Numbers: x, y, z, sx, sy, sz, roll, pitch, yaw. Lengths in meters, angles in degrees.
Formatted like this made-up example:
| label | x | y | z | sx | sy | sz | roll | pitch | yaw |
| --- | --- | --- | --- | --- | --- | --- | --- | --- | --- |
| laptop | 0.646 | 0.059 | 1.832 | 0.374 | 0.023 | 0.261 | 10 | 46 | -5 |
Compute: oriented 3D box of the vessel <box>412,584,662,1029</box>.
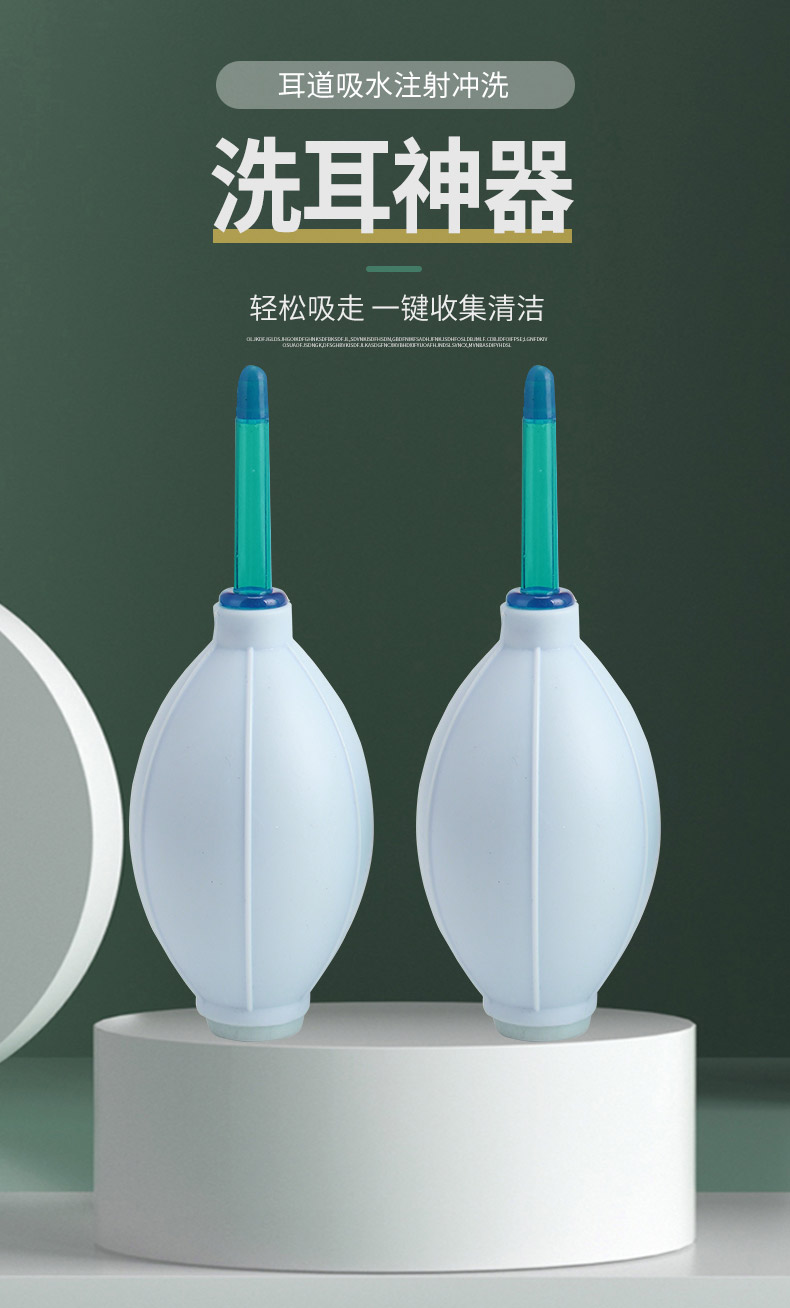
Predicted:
| label | x | y | z | sx | sy | sz | roll | pitch | yaw |
| --- | --- | --- | --- | --- | --- | --- | --- | --- | --- |
| vessel | 0.063 | 0.072 | 0.702 | 0.087 | 0.192 | 0.074 | -7 | 11 | -38 |

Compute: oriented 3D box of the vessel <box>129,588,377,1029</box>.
| label | x | y | z | sx | sy | sz | roll | pitch | yaw |
| --- | --- | --- | --- | --- | --- | --- | --- | --- | --- |
| vessel | -0.066 | 0.074 | 0.706 | 0.097 | 0.196 | 0.069 | 2 | 9 | 15 |
